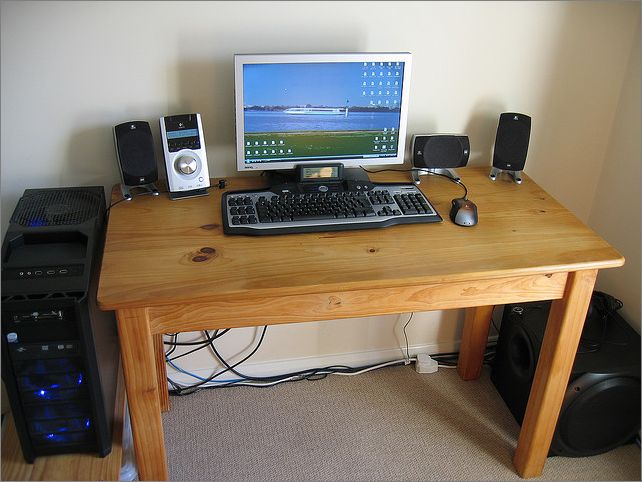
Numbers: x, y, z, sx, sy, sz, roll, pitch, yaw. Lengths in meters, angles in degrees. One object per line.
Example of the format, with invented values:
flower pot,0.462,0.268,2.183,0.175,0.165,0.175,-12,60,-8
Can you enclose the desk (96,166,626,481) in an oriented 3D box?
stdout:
desk,0.089,0.585,2.299,2.169,1.316,0.978,-4,41,-6

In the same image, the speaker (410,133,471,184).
speaker,0.447,-0.326,1.911,0.248,0.184,0.189,0,30,-1
